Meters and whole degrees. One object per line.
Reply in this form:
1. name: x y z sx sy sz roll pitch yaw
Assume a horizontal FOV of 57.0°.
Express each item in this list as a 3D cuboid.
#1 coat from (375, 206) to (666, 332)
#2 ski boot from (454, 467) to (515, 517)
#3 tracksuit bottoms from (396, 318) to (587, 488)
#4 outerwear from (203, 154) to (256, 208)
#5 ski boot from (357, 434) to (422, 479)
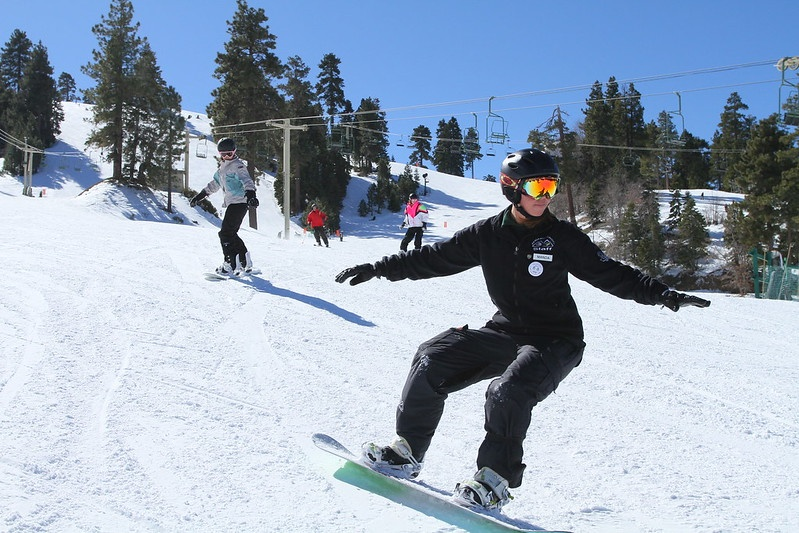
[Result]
1. coat: 3.054 -0.102 14.862 5.557 2.384 1.475 4 1 11
2. ski boot: 0.807 2.047 6.741 0.599 0.340 0.365 17 7 -40
3. tracksuit bottoms: 0.694 1.213 7.217 1.231 1.417 1.328 14 22 8
4. outerwear: -2.927 -1.470 12.866 1.430 0.886 0.459 8 17 36
5. ski boot: -0.065 1.776 6.934 0.534 0.322 0.322 24 -8 10
